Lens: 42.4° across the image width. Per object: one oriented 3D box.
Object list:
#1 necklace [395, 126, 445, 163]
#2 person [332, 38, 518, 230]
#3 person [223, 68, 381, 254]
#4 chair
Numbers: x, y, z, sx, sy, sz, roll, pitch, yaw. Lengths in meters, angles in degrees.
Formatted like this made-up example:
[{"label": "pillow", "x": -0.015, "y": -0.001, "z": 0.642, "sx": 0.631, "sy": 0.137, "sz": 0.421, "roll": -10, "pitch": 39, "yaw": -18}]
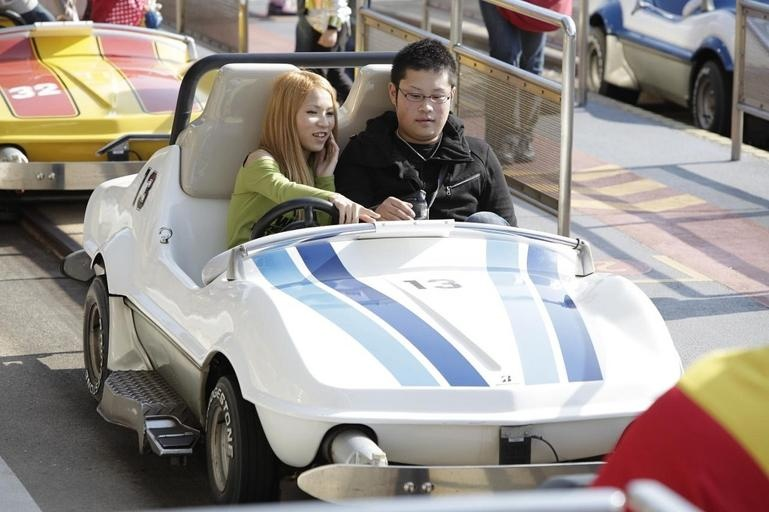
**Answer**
[{"label": "necklace", "x": 0.247, "y": -0.689, "z": 6.166, "sx": 0.176, "sy": 0.085, "sz": 0.219, "roll": -14, "pitch": 64, "yaw": -33}, {"label": "person", "x": 0.269, "y": -0.623, "z": 6.144, "sx": 1.210, "sy": 1.327, "sz": 0.928, "roll": -4, "pitch": 18, "yaw": -18}, {"label": "person", "x": -0.532, "y": -0.438, "z": 5.720, "sx": 0.757, "sy": 0.925, "sz": 0.921, "roll": -4, "pitch": 32, "yaw": -10}, {"label": "chair", "x": -0.590, "y": -0.431, "z": 5.729, "sx": 0.985, "sy": 0.748, "sz": 1.033, "roll": -1, "pitch": 12, "yaw": -8}]
